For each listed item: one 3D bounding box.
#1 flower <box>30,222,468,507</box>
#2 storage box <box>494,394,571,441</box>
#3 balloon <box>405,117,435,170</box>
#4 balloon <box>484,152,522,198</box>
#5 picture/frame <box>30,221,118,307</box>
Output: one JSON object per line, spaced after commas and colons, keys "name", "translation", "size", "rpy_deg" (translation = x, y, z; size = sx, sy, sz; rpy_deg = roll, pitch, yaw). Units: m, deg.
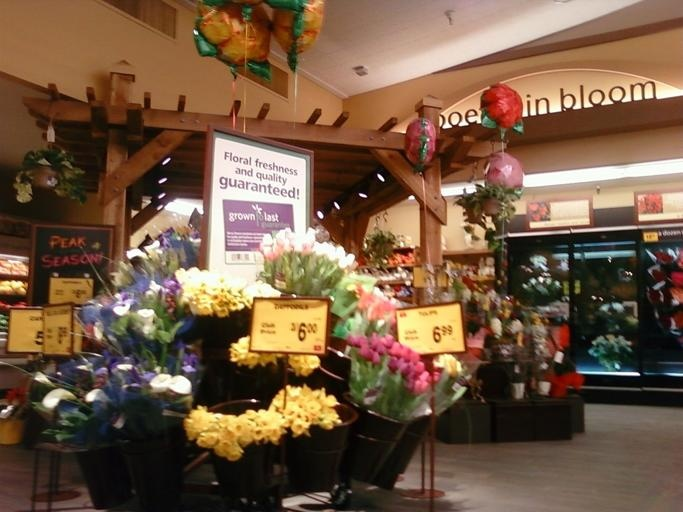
{"name": "flower", "translation": [-0.369, 0.467, 2.800], "size": [1.640, 0.552, 1.408], "rpy_deg": [5, -7, -15]}
{"name": "storage box", "translation": [1.767, 1.539, 5.189], "size": [0.595, 0.288, 0.406], "rpy_deg": [0, -10, -7]}
{"name": "balloon", "translation": [0.822, -1.157, 5.618], "size": [0.327, 0.586, 0.378], "rpy_deg": [8, -4, 1]}
{"name": "balloon", "translation": [1.775, -0.838, 5.606], "size": [0.314, 0.369, 0.311], "rpy_deg": [-7, -11, 37]}
{"name": "picture/frame", "translation": [-2.339, 0.081, 4.681], "size": [0.701, 0.814, 0.070], "rpy_deg": [4, -16, -17]}
